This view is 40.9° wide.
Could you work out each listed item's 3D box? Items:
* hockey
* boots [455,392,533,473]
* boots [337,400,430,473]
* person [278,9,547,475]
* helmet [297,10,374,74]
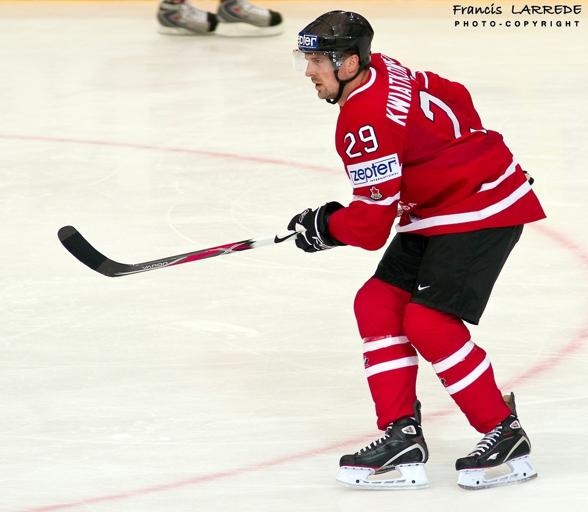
[{"bbox_3d":[-0.234,-0.068,3.144,1.318,0.172,0.131,-9,-16,-29],"label":"hockey"},{"bbox_3d":[0.566,0.535,2.243,0.193,0.138,0.083,-8,22,-36],"label":"boots"},{"bbox_3d":[0.275,0.548,2.334,0.342,0.164,0.106,-16,-23,20],"label":"boots"},{"bbox_3d":[0.347,-0.032,2.274,0.775,1.333,0.566,4,19,-2],"label":"person"},{"bbox_3d":[0.117,-0.633,2.301,0.217,0.170,0.164,4,16,4],"label":"helmet"}]
